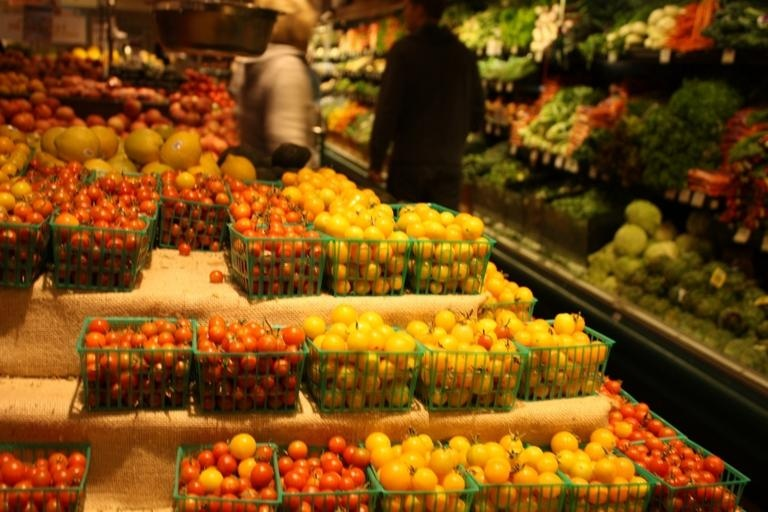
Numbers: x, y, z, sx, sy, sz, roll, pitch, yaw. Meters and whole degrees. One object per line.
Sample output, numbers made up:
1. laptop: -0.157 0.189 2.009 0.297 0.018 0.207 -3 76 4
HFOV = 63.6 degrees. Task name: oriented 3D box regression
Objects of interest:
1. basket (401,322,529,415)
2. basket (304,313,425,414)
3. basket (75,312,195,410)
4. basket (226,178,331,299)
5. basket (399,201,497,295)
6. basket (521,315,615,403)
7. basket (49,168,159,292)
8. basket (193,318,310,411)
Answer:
1. basket: 0.440 0.579 3.072 0.440 0.216 0.331 1 7 -10
2. basket: -0.108 0.504 3.061 0.452 0.341 0.473 0 19 -10
3. basket: -1.155 0.486 2.987 0.516 0.289 0.378 0 14 -11
4. basket: -0.643 -0.121 3.464 0.379 0.266 0.724 1 26 -18
5. basket: 0.329 -0.054 3.516 0.369 0.326 0.523 3 13 -5
6. basket: 0.922 0.559 3.246 0.295 0.209 0.451 2 0 -3
7. basket: -1.447 -0.160 3.301 0.376 0.239 0.643 3 25 -10
8. basket: -0.649 0.519 3.056 0.430 0.284 0.446 2 19 -12
